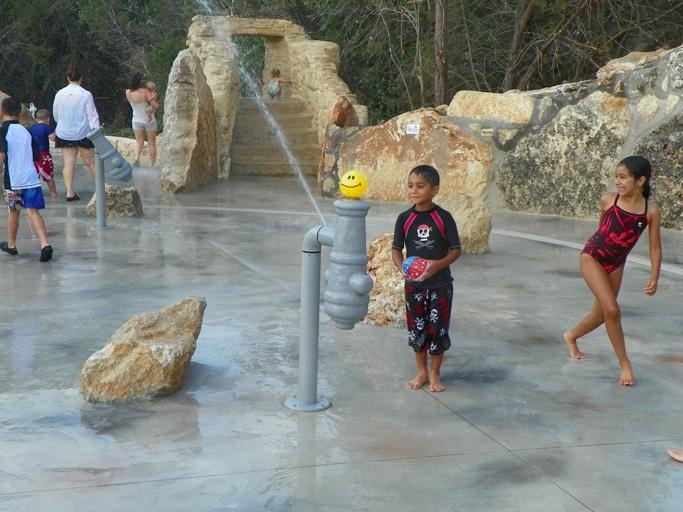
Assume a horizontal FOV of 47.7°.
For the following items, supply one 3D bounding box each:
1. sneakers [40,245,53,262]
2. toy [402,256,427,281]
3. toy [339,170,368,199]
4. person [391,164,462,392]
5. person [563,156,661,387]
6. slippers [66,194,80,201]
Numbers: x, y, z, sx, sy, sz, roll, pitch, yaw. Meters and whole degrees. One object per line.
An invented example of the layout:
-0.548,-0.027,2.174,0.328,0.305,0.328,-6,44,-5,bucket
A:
-2.796,-0.025,7.328,0.114,0.126,0.180,0,1,-31,sneakers
0.431,0.072,4.559,0.149,0.126,0.102,3,14,4,toy
0.068,-0.405,4.436,0.141,0.163,0.227,3,14,3,toy
0.509,0.116,4.794,0.400,1.332,0.551,2,15,1,person
1.761,0.055,4.997,0.544,1.378,0.681,7,16,20,person
-3.934,-0.860,11.405,0.230,0.091,0.078,-3,7,0,slippers
